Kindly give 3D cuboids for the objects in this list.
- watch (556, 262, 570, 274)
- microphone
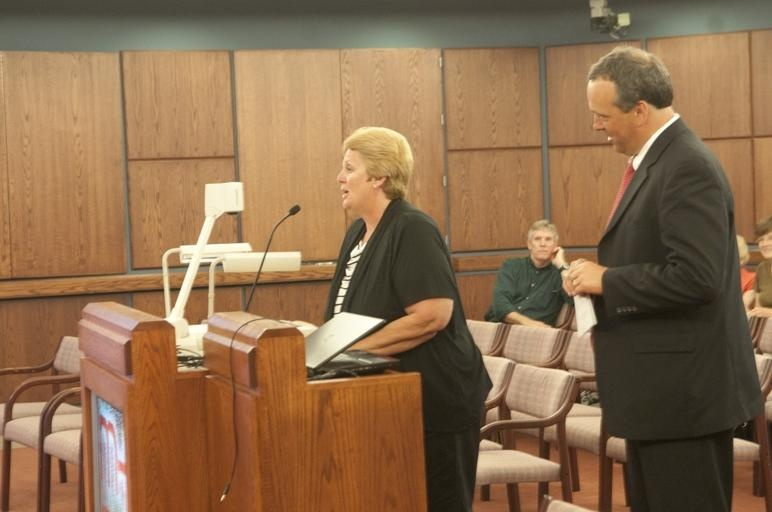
[{"bbox_3d":[0.939,0.062,3.872,0.073,0.027,0.070,-28,-1,-31],"label":"watch"},{"bbox_3d":[-0.958,0.050,6.067,0.296,0.174,1.011,29,-29,-9],"label":"microphone"}]
